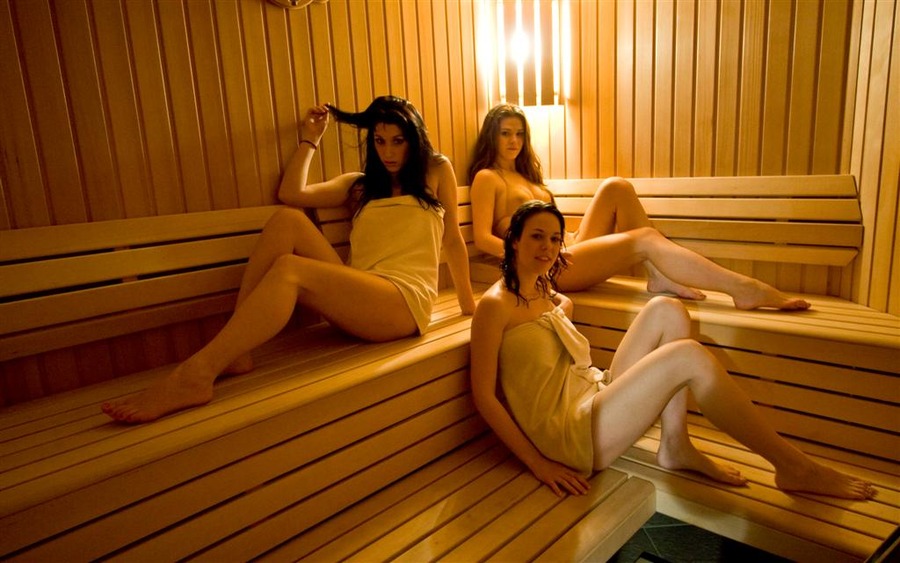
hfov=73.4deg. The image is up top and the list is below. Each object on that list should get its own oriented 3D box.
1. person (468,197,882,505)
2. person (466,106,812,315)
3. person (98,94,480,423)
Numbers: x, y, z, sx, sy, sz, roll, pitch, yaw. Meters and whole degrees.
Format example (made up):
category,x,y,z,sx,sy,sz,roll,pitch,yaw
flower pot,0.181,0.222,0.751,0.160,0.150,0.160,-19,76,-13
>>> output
category,x,y,z,sx,sy,sz,roll,pitch,yaw
person,0.804,0.217,2.341,1.406,1.061,0.811,-3,8,26
person,0.928,-0.360,3.089,1.741,1.010,0.795,9,23,40
person,-0.606,-0.223,2.527,0.635,1.006,1.755,15,21,36
